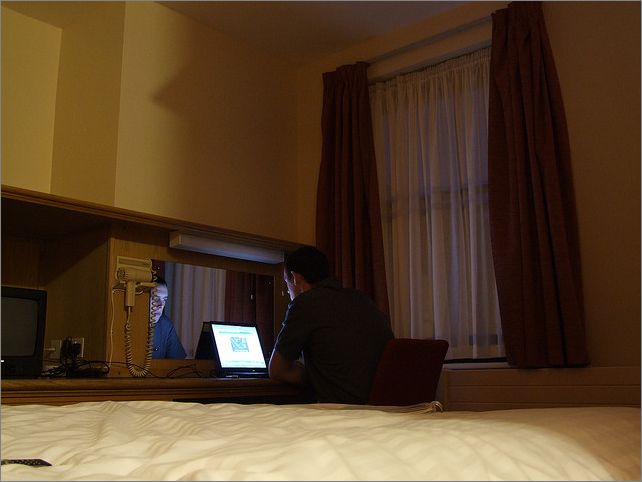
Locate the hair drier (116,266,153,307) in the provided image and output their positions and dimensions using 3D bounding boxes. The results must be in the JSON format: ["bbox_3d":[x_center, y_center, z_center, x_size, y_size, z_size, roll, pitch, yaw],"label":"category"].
[{"bbox_3d":[-0.981,0.279,2.843,0.180,0.255,0.197,-7,-16,25],"label":"hair drier"}]

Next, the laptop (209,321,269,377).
[{"bbox_3d":[-0.521,0.684,3.331,0.402,0.442,0.261,11,-26,-37],"label":"laptop"}]

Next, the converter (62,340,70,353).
[{"bbox_3d":[-1.419,0.598,2.936,0.048,0.089,0.048,5,-12,-31],"label":"converter"}]

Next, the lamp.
[{"bbox_3d":[-0.614,0.050,3.423,0.959,0.156,0.100,11,7,-36],"label":"lamp"}]

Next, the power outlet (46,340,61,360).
[{"bbox_3d":[-1.501,0.622,2.966,0.071,0.093,0.017,-18,-25,23],"label":"power outlet"}]
